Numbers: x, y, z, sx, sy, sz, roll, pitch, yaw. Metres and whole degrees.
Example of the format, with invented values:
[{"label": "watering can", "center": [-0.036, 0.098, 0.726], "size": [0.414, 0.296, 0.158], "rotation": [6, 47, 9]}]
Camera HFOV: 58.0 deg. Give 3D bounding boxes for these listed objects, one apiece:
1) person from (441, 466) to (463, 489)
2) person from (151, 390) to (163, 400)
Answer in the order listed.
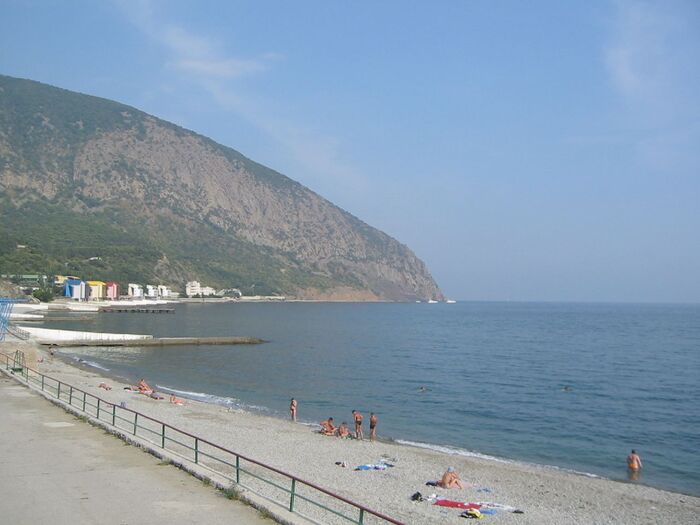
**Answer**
[{"label": "person", "center": [6.431, 13.745, 40.430], "size": [1.132, 0.903, 1.146], "rotation": [-5, -7, 43]}, {"label": "person", "center": [-18.304, 12.522, 59.847], "size": [0.718, 0.603, 1.058], "rotation": [7, -2, -39]}]
